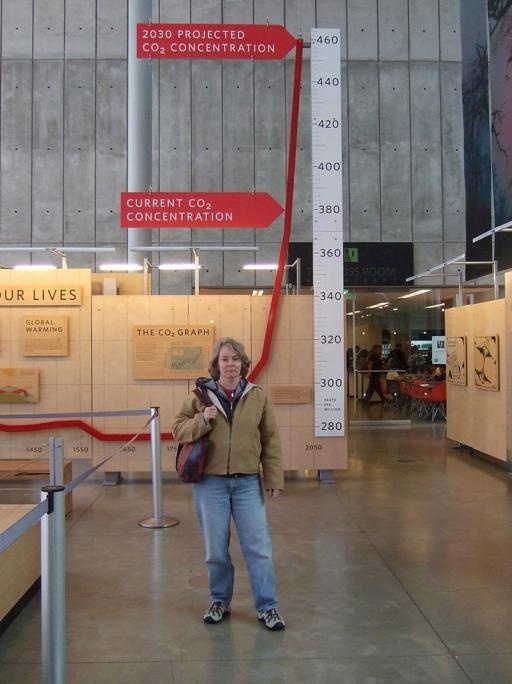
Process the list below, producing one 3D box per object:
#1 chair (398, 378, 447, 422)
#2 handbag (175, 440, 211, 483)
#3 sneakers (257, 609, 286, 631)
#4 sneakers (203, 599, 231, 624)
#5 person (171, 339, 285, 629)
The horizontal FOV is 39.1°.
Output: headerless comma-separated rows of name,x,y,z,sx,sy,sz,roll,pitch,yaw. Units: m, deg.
chair,3.201,1.122,13.879,0.800,1.141,0.790,1,-15,1
handbag,-0.339,0.656,3.939,0.080,0.223,0.202,18,-10,-13
sneakers,0.099,1.600,4.137,0.071,0.088,0.191,4,-14,-18
sneakers,-0.247,1.586,4.202,0.067,0.092,0.202,-1,-17,12
person,-0.156,0.815,4.093,0.625,1.652,0.400,0,-1,-16
